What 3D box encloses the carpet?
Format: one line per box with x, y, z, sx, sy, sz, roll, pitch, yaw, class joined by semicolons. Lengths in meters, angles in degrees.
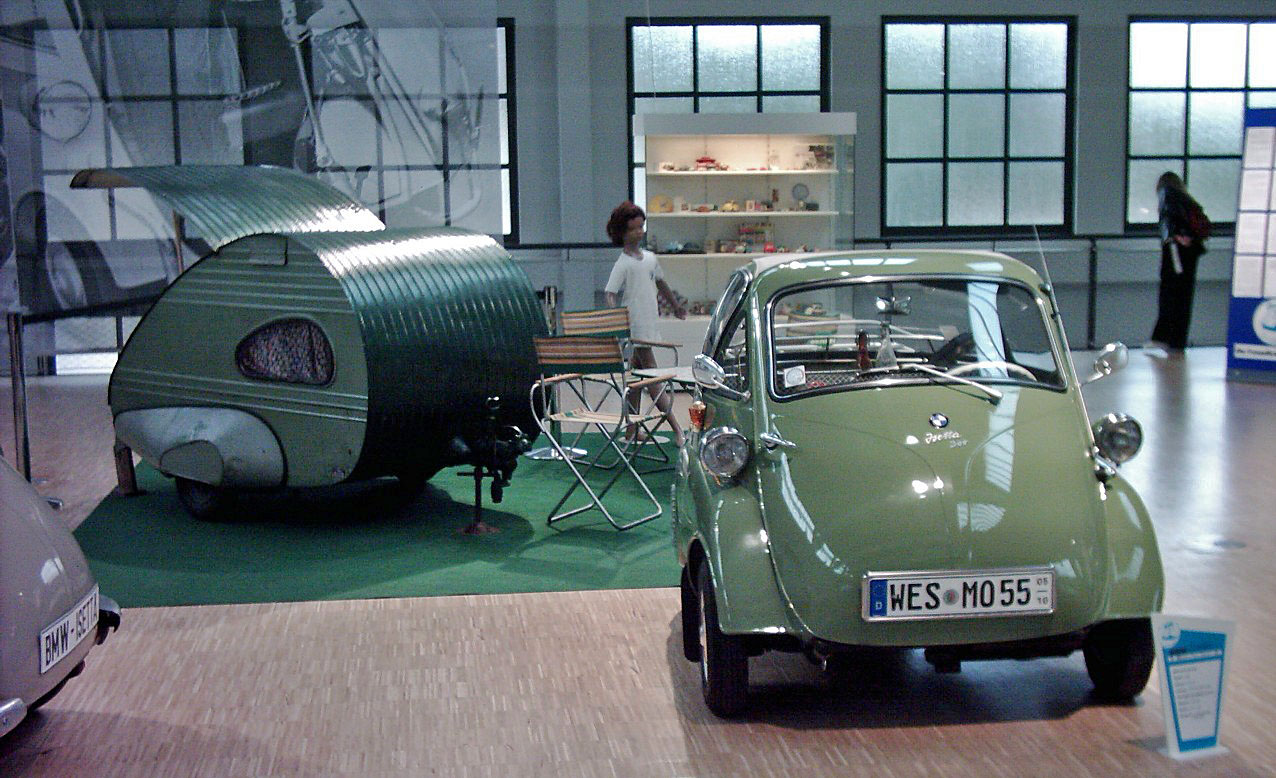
-1.796;0.971;6.856;4.037;0.075;2.268;-1;13;-3;carpet

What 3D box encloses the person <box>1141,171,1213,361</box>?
7.145;-1.663;13.179;0.645;2.335;1.044;7;15;27;person
